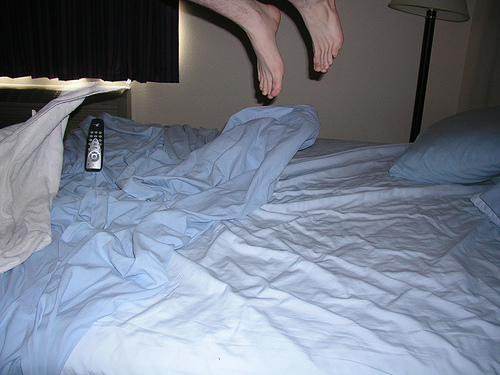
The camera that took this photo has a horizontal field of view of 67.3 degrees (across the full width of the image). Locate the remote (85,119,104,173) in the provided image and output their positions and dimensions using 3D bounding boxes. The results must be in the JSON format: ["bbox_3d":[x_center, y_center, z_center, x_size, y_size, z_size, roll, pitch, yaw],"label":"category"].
[{"bbox_3d":[-0.673,-0.180,1.642,0.070,0.246,0.037,2,-19,-11],"label":"remote"}]

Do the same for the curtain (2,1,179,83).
[{"bbox_3d":[-1.471,-1.384,3.508,1.604,0.875,0.290,4,17,-13],"label":"curtain"}]
